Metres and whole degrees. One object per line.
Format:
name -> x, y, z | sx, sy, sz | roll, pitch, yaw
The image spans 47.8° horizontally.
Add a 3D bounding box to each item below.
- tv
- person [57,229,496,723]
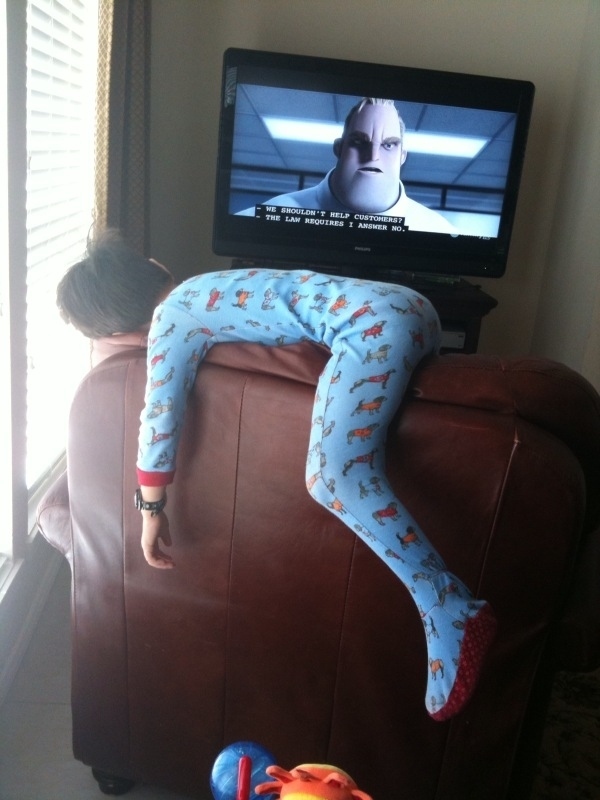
tv -> 0.316, -1.043, 2.936 | 1.434, 0.954, 0.368 | 6, 28, -5
person -> 0.016, 0.055, 1.281 | 0.887, 0.622, 0.479 | 20, 31, 28
